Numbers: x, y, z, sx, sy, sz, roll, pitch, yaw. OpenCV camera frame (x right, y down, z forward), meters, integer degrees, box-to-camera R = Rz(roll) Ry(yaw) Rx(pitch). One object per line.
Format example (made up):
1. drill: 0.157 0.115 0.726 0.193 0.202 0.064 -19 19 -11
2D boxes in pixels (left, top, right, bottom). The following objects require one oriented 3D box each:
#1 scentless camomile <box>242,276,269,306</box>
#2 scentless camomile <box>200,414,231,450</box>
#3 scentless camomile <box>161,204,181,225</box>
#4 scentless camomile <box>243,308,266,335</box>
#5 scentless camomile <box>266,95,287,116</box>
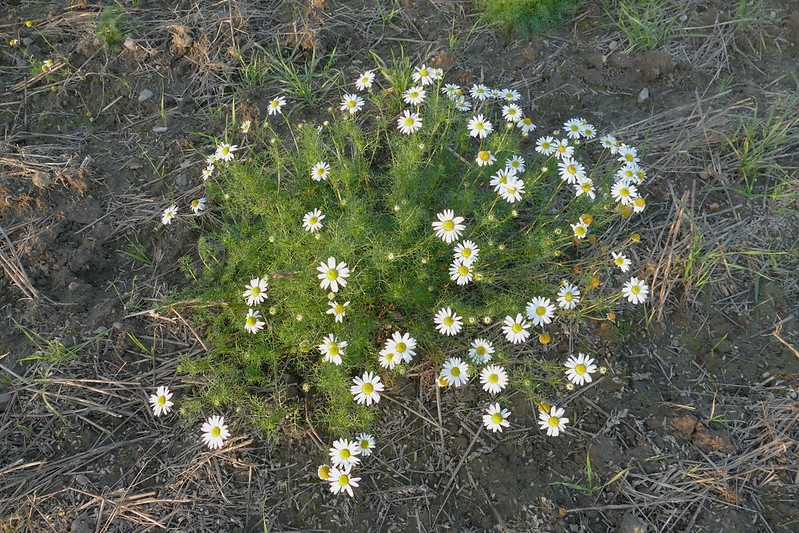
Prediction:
1. scentless camomile: -1.437 0.251 5.932 0.270 0.056 0.274 -47 55 21
2. scentless camomile: -1.773 1.610 5.748 0.303 0.087 0.372 6 93 24
3. scentless camomile: -2.576 -0.573 6.711 0.202 0.042 0.216 -33 49 6
4. scentless camomile: -1.490 0.572 6.010 0.055 0.234 0.250 -18 78 47
5. scentless camomile: -1.440 -1.887 7.007 0.322 0.061 0.334 -54 33 2
